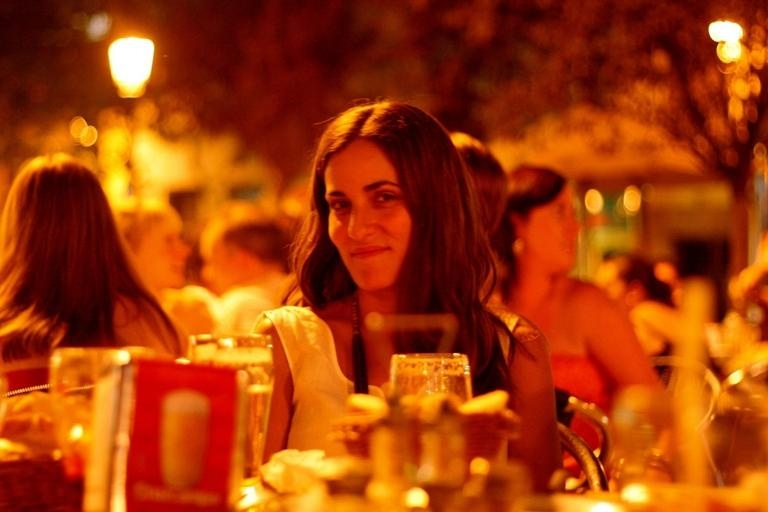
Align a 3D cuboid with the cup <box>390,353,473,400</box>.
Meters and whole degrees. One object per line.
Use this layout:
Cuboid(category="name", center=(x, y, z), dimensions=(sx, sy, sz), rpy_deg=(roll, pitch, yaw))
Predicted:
Cuboid(category="cup", center=(0.118, 0.287, 1.706), dimensions=(0.193, 0.135, 0.110), rpy_deg=(1, -5, -2))
